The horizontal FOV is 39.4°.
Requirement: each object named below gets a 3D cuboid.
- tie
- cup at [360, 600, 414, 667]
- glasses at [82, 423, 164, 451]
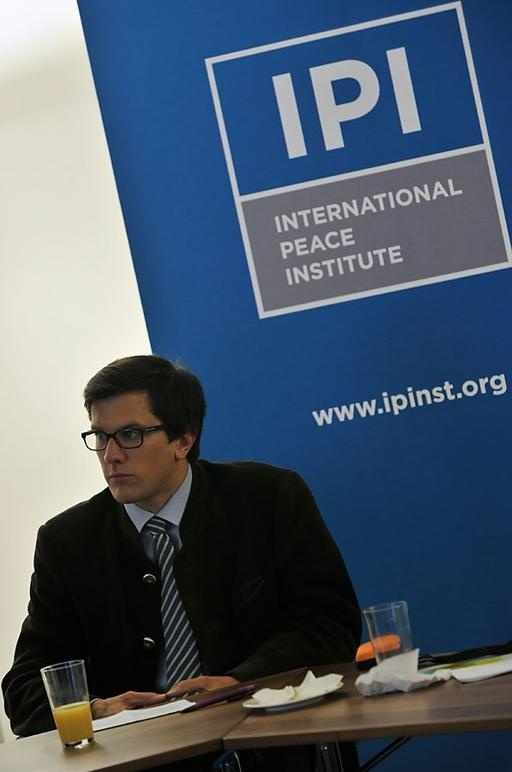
[{"bbox_3d":[-0.185,0.467,1.592,0.096,0.385,0.045,-14,-22,13],"label":"tie"},{"bbox_3d":[0.202,0.371,1.070,0.062,0.094,0.065,-14,-1,0],"label":"cup"},{"bbox_3d":[-0.303,0.116,1.623,0.188,0.063,0.085,-14,-1,-2],"label":"glasses"}]
